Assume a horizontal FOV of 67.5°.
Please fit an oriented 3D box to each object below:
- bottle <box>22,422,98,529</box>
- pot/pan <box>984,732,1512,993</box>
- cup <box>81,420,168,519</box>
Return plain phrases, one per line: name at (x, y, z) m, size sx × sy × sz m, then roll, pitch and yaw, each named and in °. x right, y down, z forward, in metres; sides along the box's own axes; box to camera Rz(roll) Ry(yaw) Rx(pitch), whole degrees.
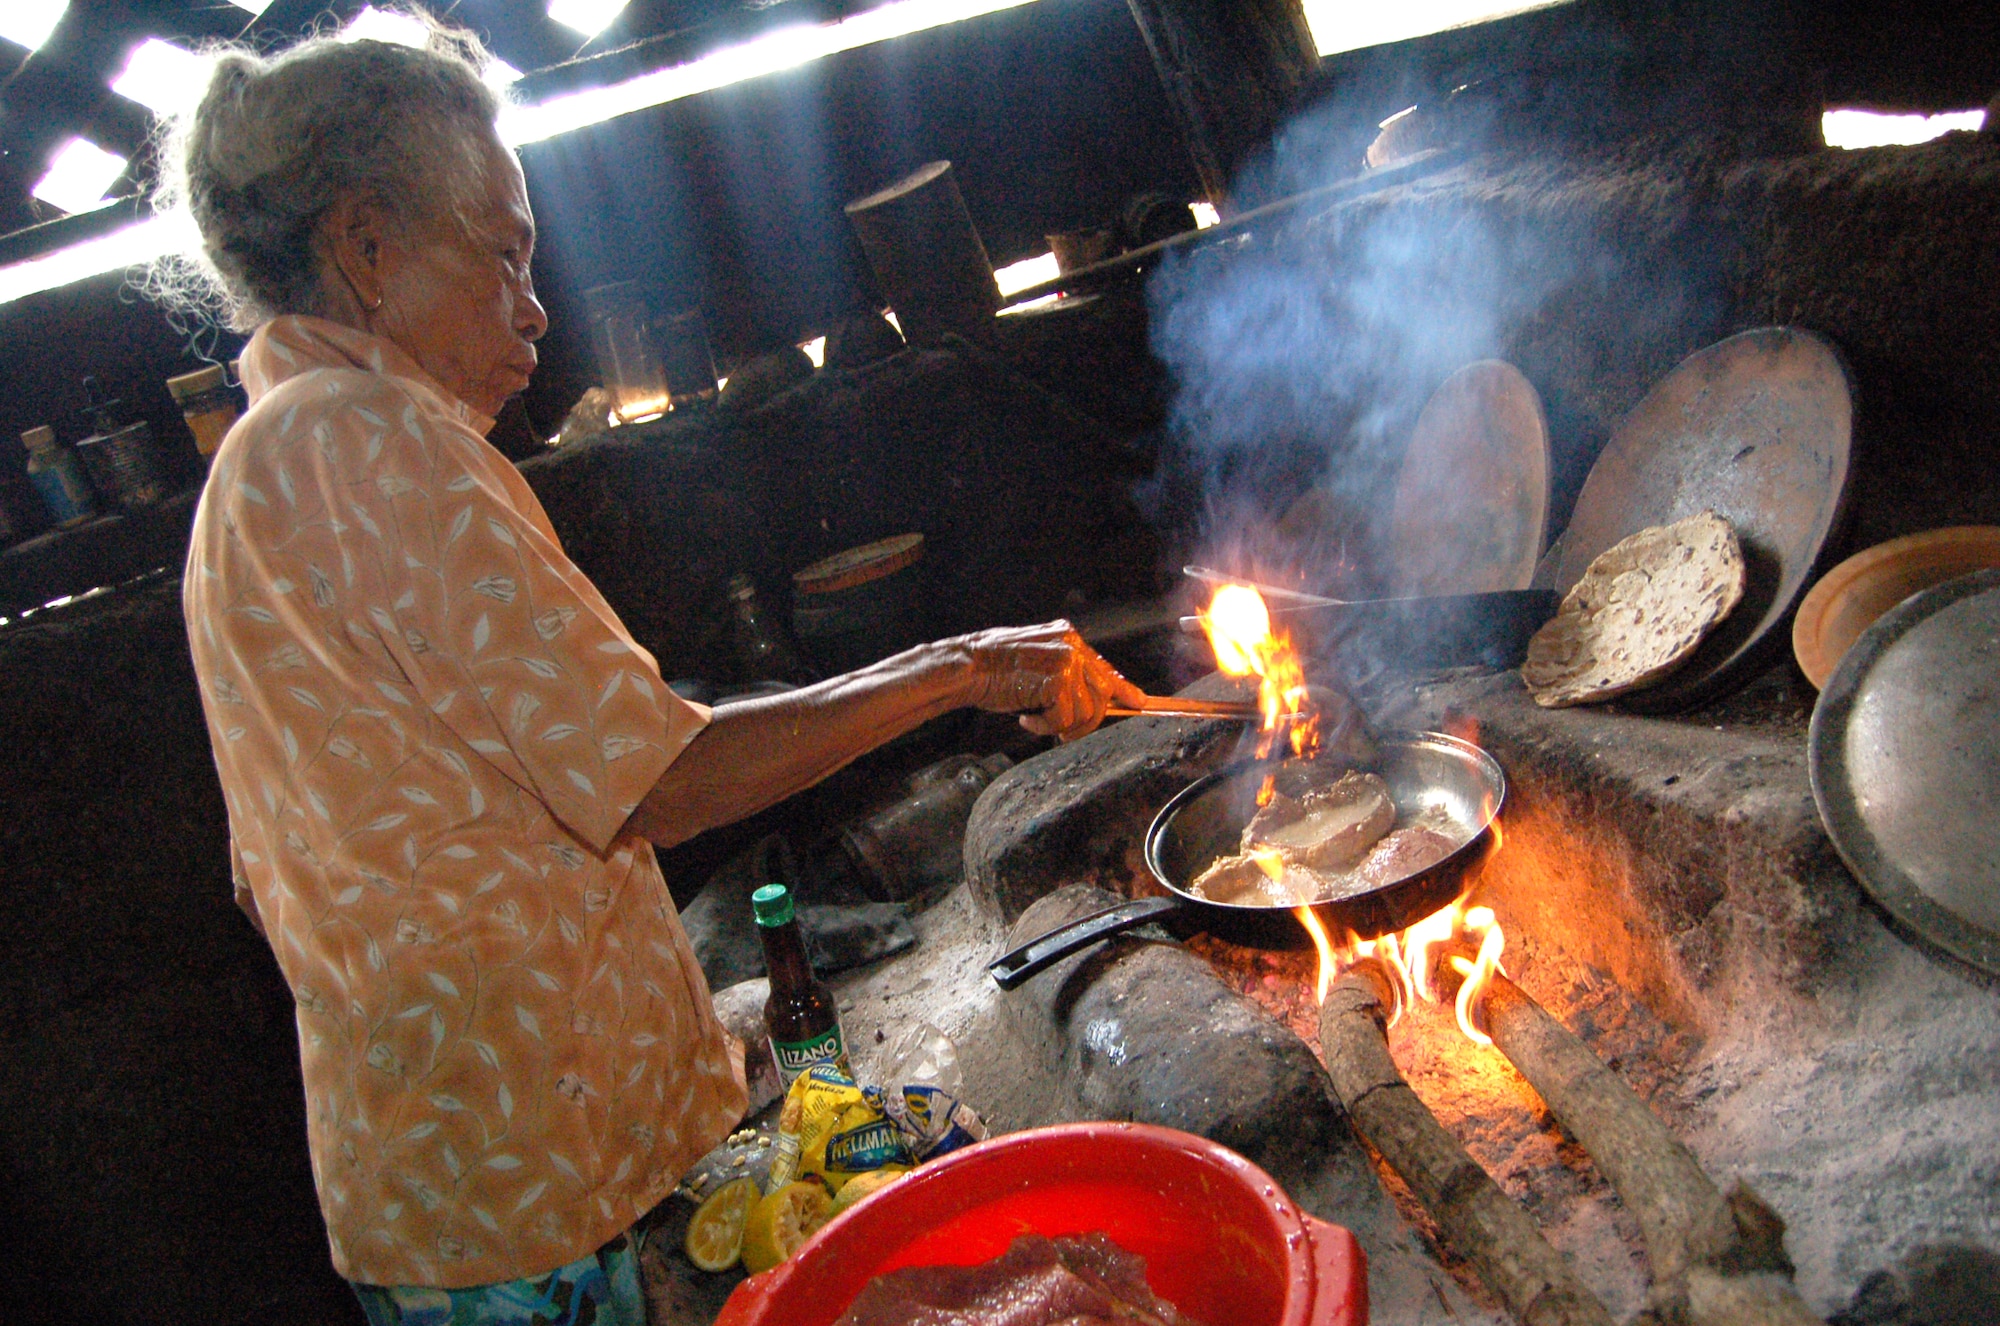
bottle at (-4.201, -0.818, 6.644) m, size 0.239 × 0.429 × 0.276 m, roll -22°, pitch 24°, yaw -15°
pot/pan at (0.855, 0.611, 4.556) m, size 1.290 × 0.189 × 0.807 m, roll -24°, pitch 20°, yaw -10°
cup at (-3.944, -0.850, 6.730) m, size 0.233 × 0.434 × 0.242 m, roll -9°, pitch 34°, yaw 6°
